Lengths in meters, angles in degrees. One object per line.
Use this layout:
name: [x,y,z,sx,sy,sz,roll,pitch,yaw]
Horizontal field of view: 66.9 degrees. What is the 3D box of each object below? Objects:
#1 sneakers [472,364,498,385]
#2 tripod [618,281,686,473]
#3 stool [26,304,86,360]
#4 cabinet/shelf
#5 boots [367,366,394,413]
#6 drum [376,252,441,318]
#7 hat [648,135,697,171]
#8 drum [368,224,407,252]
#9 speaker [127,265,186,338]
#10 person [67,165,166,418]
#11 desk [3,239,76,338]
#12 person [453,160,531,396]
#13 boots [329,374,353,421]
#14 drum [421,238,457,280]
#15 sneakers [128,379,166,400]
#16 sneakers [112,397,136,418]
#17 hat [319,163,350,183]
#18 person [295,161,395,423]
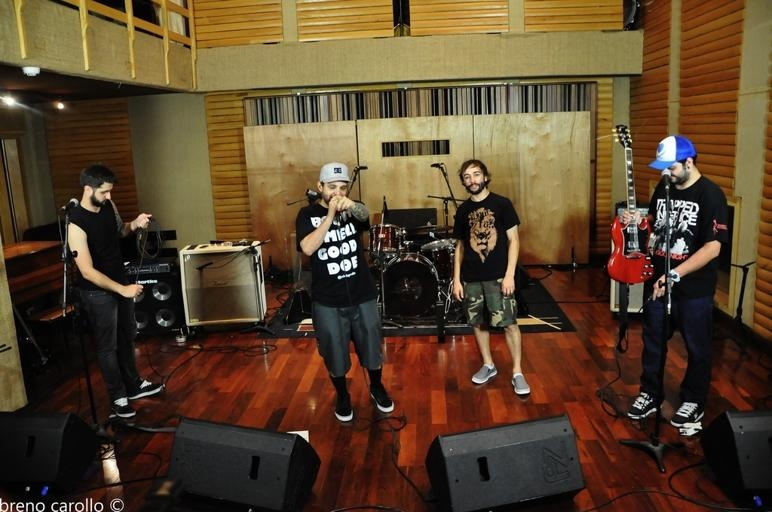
sneakers: [0.995,1.177,5.860,0.272,0.116,0.131,-5,2,-42]
tripod: [2.259,0.976,4.901,0.471,1.393,0.647,6,15,36]
stool: [-3.750,0.864,6.616,0.578,0.545,0.438,10,22,20]
cabinet/shelf: [-1.986,0.344,7.251,0.943,0.911,0.549,-4,2,-9]
boots: [-0.035,1.245,5.530,0.145,0.339,0.354,-12,24,-30]
drum: [0.331,0.481,7.259,0.798,0.807,0.493,2,-25,4]
hat: [2.405,-0.886,4.979,0.472,0.256,0.300,-16,10,-9]
drum: [0.037,-0.208,6.823,0.335,0.240,0.336,0,2,0]
speaker: [-2.855,0.559,7.182,0.700,0.738,0.623,-4,7,-10]
person: [-2.525,0.328,5.466,0.632,2.344,0.548,-8,13,-23]
desk: [-4.035,0.419,6.796,0.949,0.473,0.618,17,36,27]
person: [1.008,0.207,5.600,0.529,2.235,0.721,-14,16,-41]
boots: [-0.389,1.345,5.527,0.196,0.385,0.395,4,-14,-34]
drum: [0.671,0.017,7.109,0.438,0.457,0.441,-2,12,-3]
sneakers: [-2.398,1.327,5.907,0.357,0.161,0.131,-4,7,-31]
sneakers: [-2.497,1.426,5.545,0.294,0.120,0.121,-2,-3,41]
hat: [-0.456,-0.734,5.107,0.165,0.129,0.224,-1,12,-11]
person: [-0.376,0.338,5.295,0.766,2.332,0.385,-5,13,-8]
